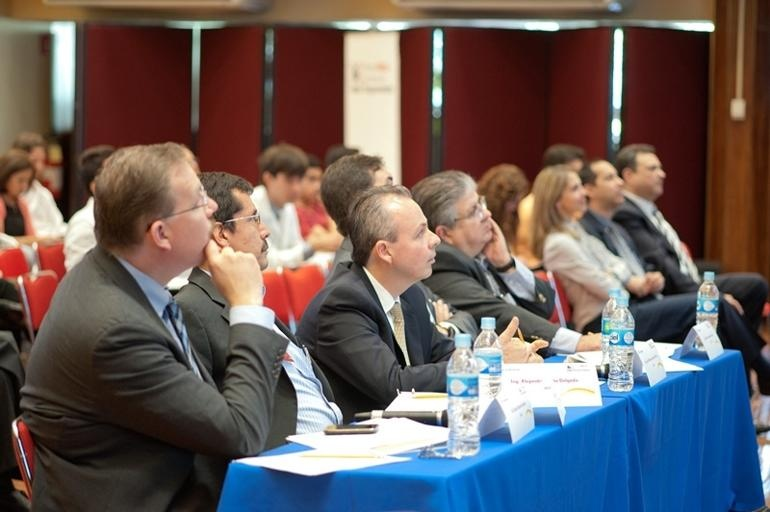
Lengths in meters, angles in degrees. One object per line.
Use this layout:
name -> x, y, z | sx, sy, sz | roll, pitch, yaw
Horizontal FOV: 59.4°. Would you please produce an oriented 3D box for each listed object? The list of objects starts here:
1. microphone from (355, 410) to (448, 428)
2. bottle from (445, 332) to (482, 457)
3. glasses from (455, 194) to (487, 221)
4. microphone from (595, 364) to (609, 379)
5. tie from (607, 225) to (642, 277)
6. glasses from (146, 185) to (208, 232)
microphone -> 0.069, 0.541, 2.251 | 0.281, 0.063, 0.058 | 3, -10, 10
bottle -> 0.227, 0.404, 1.997 | 0.101, 0.355, 0.132 | -4, 0, 6
glasses -> 0.461, -0.242, 3.556 | 0.131, 0.045, 0.133 | -11, 6, 28
microphone -> 0.878, 0.461, 2.729 | 0.052, 0.056, 0.056 | 0, 1, -3
tie -> 1.876, -0.023, 5.306 | 0.145, 0.391, 0.285 | -28, 18, 35
glasses -> -0.641, -0.177, 2.104 | 0.143, 0.045, 0.142 | -30, 13, -7
